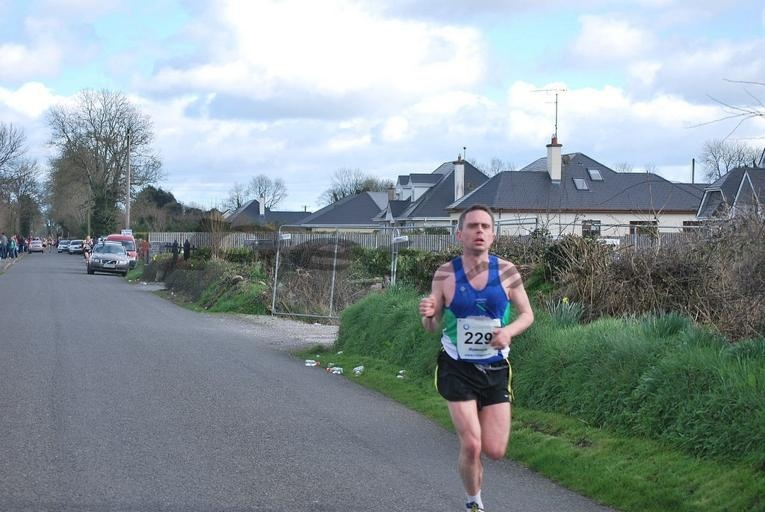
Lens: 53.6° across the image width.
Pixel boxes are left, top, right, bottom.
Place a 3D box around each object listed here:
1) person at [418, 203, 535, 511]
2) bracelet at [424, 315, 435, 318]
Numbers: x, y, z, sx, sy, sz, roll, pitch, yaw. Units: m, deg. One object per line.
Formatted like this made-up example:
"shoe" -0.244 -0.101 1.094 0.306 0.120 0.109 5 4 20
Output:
"person" 0.907 0.992 7.459 1.008 2.982 0.478 2 -1 11
"bracelet" 0.451 0.605 7.433 0.100 0.034 0.076 3 -2 -1
